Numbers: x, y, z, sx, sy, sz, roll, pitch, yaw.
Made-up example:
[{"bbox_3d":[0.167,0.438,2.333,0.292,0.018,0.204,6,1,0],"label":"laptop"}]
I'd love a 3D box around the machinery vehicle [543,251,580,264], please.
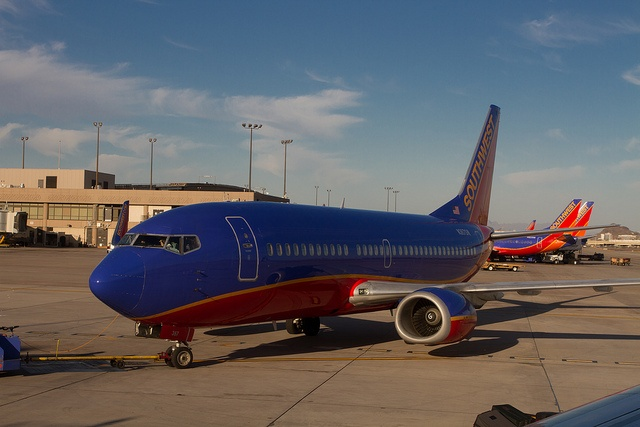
[{"bbox_3d":[34.595,6.372,93.037,4.412,1.323,2.416,2,-4,-23],"label":"machinery vehicle"}]
